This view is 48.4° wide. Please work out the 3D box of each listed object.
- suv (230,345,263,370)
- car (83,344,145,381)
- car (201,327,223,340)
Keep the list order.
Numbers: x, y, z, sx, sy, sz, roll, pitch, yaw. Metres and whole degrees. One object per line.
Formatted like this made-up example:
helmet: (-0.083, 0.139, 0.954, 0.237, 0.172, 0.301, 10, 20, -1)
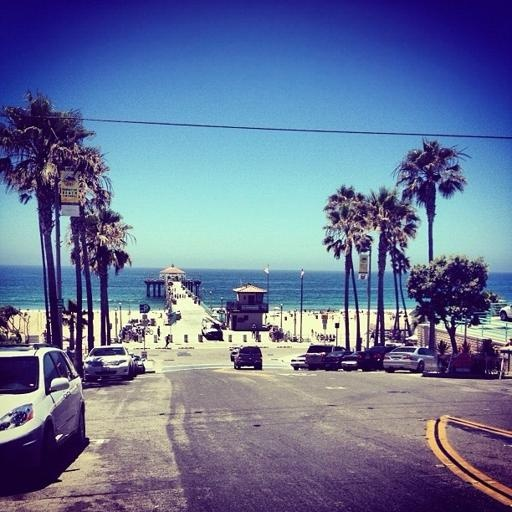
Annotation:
suv: (-0.514, 6.085, 34.193, 0.883, 1.110, 2.108, 1, -2, -6)
car: (-5.817, 4.310, 23.046, 0.971, 1.035, 2.736, -1, -19, -4)
car: (-4.804, 8.409, 61.885, 1.661, 1.418, 3.334, 1, -6, -21)
